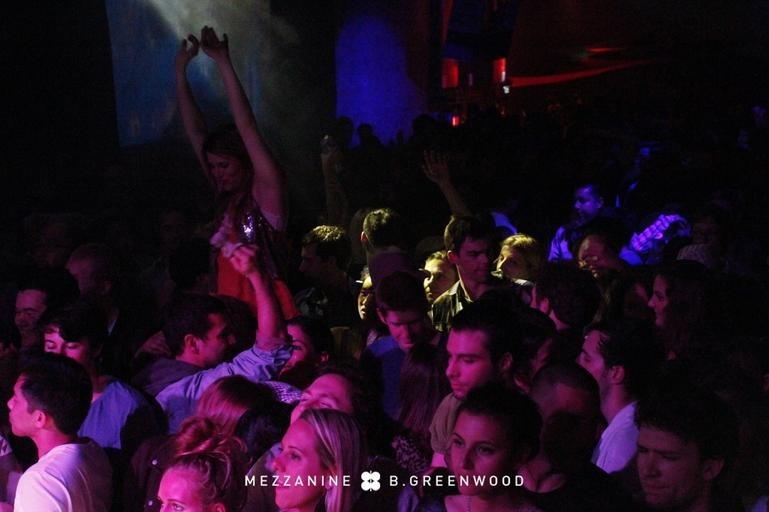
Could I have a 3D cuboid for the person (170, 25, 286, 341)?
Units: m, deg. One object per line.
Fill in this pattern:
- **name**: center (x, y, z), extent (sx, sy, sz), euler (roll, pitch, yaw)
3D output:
- **person**: center (-0.875, -0.498, 4.030), extent (0.883, 1.612, 0.344), euler (10, 11, 40)
